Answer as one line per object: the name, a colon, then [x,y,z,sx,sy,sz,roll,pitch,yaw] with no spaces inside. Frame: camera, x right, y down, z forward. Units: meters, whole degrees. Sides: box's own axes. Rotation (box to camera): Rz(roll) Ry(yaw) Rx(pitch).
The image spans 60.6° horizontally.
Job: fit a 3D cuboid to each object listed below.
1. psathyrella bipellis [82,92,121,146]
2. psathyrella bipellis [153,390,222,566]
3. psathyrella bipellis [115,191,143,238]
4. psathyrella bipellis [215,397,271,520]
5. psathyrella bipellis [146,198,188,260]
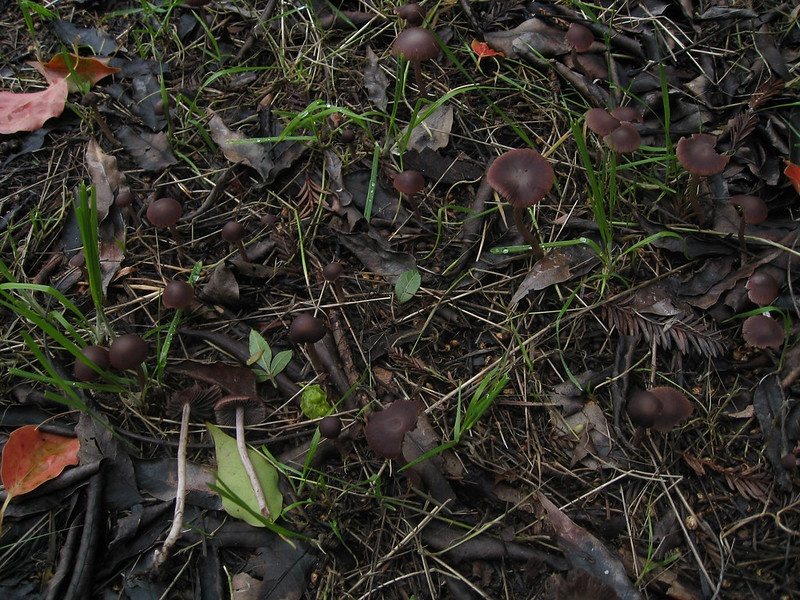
psathyrella bipellis: [-2.333,-1.357,5.325,0.121,0.344,0.418,-33,67,-12]
psathyrella bipellis: [-1.479,1.144,4.586,0.169,0.154,1.091,-26,44,37]
psathyrella bipellis: [-2.029,-0.596,5.063,0.149,0.140,0.254,7,107,20]
psathyrella bipellis: [-1.072,1.000,4.664,0.097,0.140,1.040,-26,45,-1]
psathyrella bipellis: [-1.665,-0.509,5.026,0.189,0.435,0.326,13,65,9]
